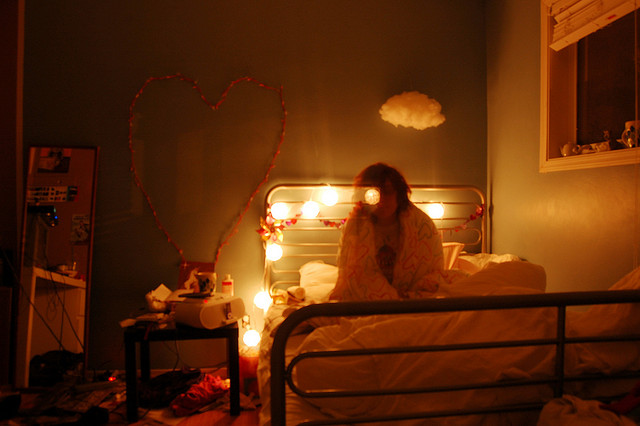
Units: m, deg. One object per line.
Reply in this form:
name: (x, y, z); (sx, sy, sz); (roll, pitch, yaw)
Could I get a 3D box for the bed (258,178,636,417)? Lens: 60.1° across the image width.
bed: (0.724, 0.602, 3.736); (1.633, 1.021, 2.113); (0, -1, -2)

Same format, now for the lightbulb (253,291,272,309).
lightbulb: (-0.458, 0.683, 4.515); (0.156, 0.134, 0.132); (-17, 11, -31)

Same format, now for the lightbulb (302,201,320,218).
lightbulb: (-0.076, -0.031, 4.639); (0.121, 0.123, 0.145); (-2, -3, 33)

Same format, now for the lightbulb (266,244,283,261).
lightbulb: (-0.370, 0.319, 4.560); (0.120, 0.139, 0.121); (-4, 17, 10)

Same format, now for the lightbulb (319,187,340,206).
lightbulb: (0.091, -0.135, 4.678); (0.144, 0.169, 0.148); (-2, 22, 33)

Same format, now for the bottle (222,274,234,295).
bottle: (-0.744, 0.581, 4.474); (0.075, 0.176, 0.273); (-4, -3, -5)

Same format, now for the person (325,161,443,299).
person: (0.419, 0.145, 4.018); (0.959, 0.962, 0.571); (0, -12, 0)
